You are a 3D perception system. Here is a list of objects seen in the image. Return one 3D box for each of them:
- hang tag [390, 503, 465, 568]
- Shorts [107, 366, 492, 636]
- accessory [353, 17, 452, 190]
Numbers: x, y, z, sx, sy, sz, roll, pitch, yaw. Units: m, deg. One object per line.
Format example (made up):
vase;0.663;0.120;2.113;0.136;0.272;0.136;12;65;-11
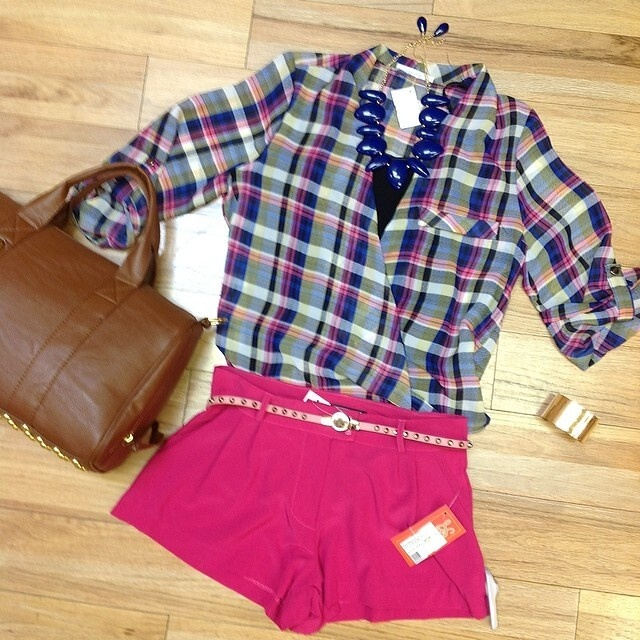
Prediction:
hang tag;0.186;0.388;1.235;0.143;0.030;0.068;-27;88;-1
Shorts;-0.041;0.340;1.264;0.657;0.070;0.310;12;86;0
accessory;0.173;-0.435;1.387;0.249;0.043;0.314;8;90;0
